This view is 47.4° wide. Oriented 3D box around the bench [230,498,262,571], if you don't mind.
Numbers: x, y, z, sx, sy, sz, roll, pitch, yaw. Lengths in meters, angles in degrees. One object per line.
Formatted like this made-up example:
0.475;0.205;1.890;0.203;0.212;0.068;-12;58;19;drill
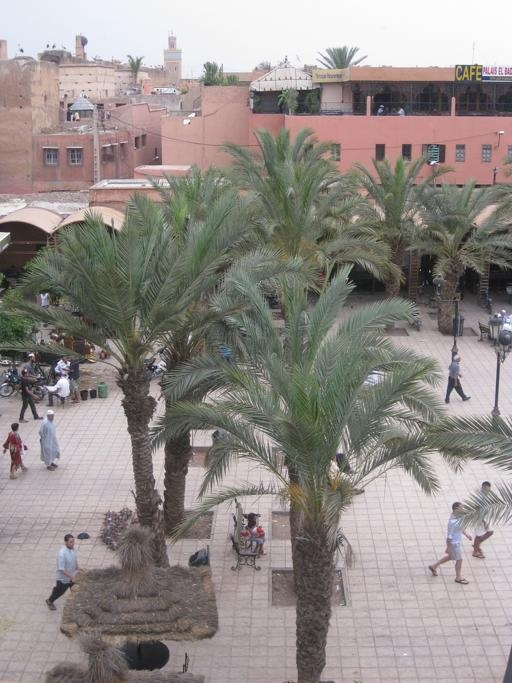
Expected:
-0.169;3.172;9.314;0.348;0.537;0.951;9;27;-2;bench

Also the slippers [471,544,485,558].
3.461;3.335;9.166;0.089;0.120;0.293;-2;0;-11;slippers

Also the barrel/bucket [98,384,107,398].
-4.327;1.454;16.547;0.327;0.383;0.332;0;3;0;barrel/bucket

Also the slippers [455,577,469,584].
2.995;3.502;8.490;0.143;0.045;0.081;3;10;29;slippers

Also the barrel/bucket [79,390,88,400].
-4.797;1.562;16.270;0.234;0.295;0.236;0;1;0;barrel/bucket

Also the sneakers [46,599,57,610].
-2.738;3.549;7.775;0.080;0.080;0.199;-3;14;-30;sneakers

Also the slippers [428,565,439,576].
2.662;3.448;8.755;0.096;0.259;0.092;-11;10;14;slippers

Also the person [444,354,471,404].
5.448;0.963;15.758;0.603;1.383;1.588;4;14;20;person

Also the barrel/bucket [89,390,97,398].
-4.581;1.536;16.406;0.168;0.205;0.190;1;-6;-4;barrel/bucket

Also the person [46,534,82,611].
-2.446;3.059;7.575;0.385;1.053;0.368;-1;18;-41;person
